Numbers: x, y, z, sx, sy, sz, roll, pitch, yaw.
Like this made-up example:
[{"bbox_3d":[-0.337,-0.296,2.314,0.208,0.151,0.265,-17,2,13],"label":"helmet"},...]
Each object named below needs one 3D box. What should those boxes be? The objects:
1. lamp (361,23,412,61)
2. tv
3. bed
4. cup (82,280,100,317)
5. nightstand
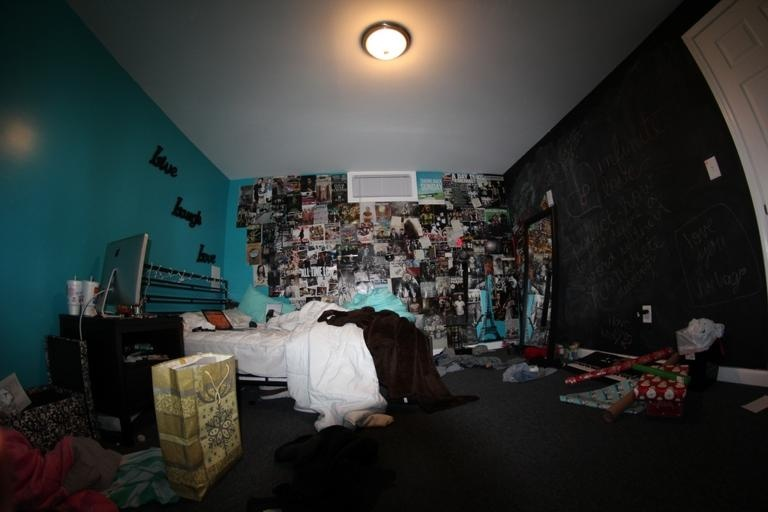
[{"bbox_3d":[0.028,-2.214,4.774,0.523,0.234,0.344,-4,-5,-2],"label":"lamp"},{"bbox_3d":[-2.549,0.194,4.320,0.737,0.756,0.241,-6,-13,36],"label":"tv"},{"bbox_3d":[-1.753,0.855,5.226,1.885,1.015,1.880,-5,-6,28],"label":"bed"},{"bbox_3d":[-2.704,0.401,4.232,0.130,0.330,0.146,2,-8,-37],"label":"cup"},{"bbox_3d":[-2.407,0.983,4.337,0.823,0.902,0.764,-41,-30,23],"label":"nightstand"}]
